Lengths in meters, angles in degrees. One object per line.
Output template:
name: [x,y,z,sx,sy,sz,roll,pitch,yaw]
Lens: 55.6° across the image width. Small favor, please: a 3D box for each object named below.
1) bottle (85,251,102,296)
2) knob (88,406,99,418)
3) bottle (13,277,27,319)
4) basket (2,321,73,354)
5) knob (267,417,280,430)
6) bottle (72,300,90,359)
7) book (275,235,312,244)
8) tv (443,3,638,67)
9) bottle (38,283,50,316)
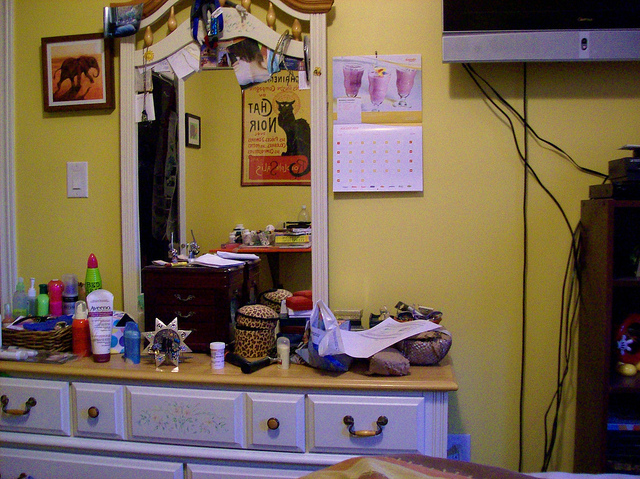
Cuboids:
bottle: [-1.021,0.154,2.746,0.067,0.179,0.222,0,4,-19]
knob: [-0.892,0.682,2.398,0.036,0.023,0.037,12,31,-21]
bottle: [-1.353,0.267,2.739,0.058,0.168,0.076,-2,4,-38]
basket: [-1.210,0.423,2.580,0.285,0.104,0.087,1,3,7]
knob: [-0.175,0.702,2.313,0.045,0.048,0.020,0,3,-8]
bottle: [-0.996,0.379,2.536,0.064,0.226,0.109,-1,4,-26]
book: [-0.116,0.002,2.674,0.161,0.041,0.003,1,3,5]
tv: [0.910,-0.848,2.505,0.779,0.232,0.132,2,3,12]
bottle: [-1.238,0.274,2.733,0.087,0.132,0.044,4,5,44]
